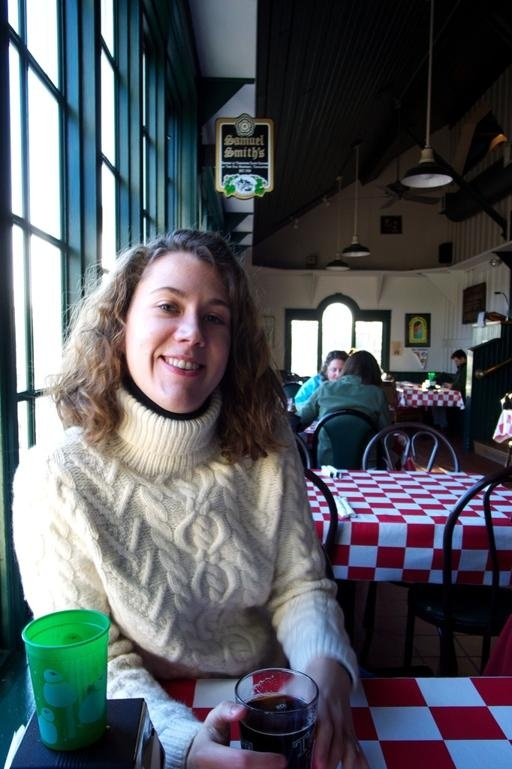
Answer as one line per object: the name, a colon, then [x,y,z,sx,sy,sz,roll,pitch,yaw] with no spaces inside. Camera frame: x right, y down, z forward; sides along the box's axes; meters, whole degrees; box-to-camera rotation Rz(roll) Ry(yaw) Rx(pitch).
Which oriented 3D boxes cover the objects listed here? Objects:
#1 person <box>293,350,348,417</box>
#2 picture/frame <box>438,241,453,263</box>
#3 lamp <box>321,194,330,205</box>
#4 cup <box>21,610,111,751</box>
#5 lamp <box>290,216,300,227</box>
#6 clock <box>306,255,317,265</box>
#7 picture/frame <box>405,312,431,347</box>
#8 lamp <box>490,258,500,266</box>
person: [0.455,0.031,4.405,0.291,0.756,0.251,16,41,-1]
picture/frame: [3.976,-2.747,11.878,0.124,0.386,0.390,-1,10,-11]
lamp: [1.448,-3.840,11.928,0.176,0.147,0.304,2,3,6]
cup: [-0.170,0.272,0.524,0.071,0.098,0.070,-3,2,0]
lamp: [0.827,-3.433,12.091,0.147,0.200,0.321,2,3,2]
clock: [1.197,-2.641,12.198,0.206,0.231,0.057,-2,3,5]
picture/frame: [3.416,-1.177,11.997,0.629,0.977,0.075,1,0,-1]
lamp: [4.003,-2.027,9.490,0.082,0.115,0.052,16,29,27]
